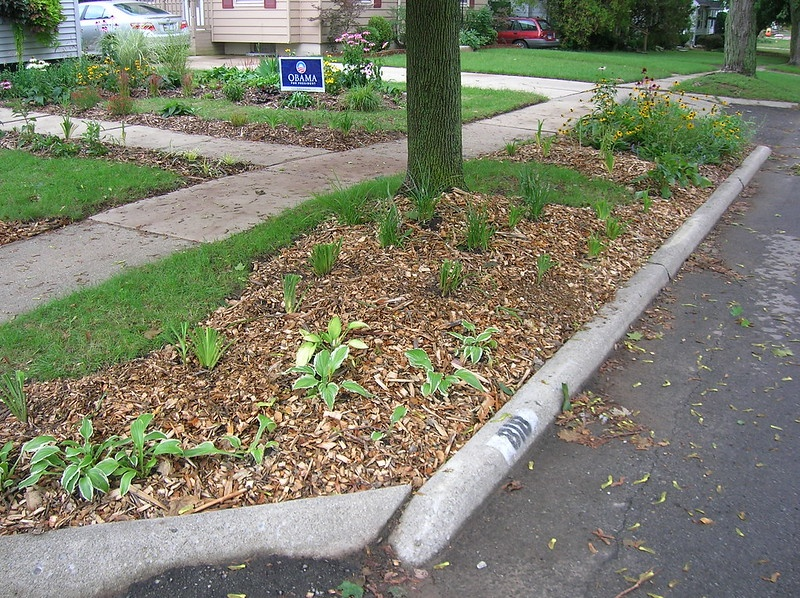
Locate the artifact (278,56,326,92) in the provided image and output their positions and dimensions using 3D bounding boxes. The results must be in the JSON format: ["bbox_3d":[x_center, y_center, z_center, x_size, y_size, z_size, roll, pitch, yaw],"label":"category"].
[{"bbox_3d":[-1.884,-4.384,11.297,1.097,0.644,0.443,22,31,38],"label":"artifact"}]

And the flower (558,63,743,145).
[{"bbox_3d":[3.559,-2.761,8.548,2.431,0.945,1.604,-13,28,-28],"label":"flower"}]

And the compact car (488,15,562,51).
[{"bbox_3d":[6.118,-13.019,28.303,2.781,1.278,1.462,5,24,9],"label":"compact car"}]
